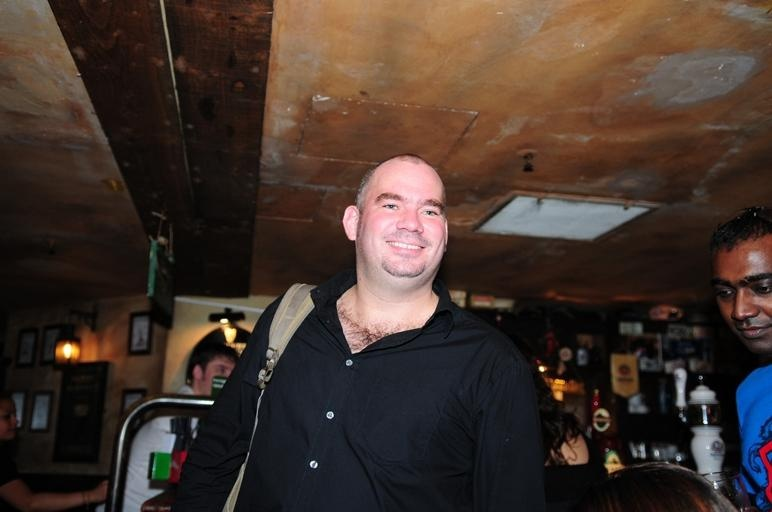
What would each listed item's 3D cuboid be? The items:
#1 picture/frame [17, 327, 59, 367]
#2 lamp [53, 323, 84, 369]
[{"bbox_3d":[-5.526,1.420,9.577,0.738,0.559,0.053,2,2,8],"label":"picture/frame"},{"bbox_3d":[-4.818,1.334,9.117,0.334,0.647,0.428,7,-19,-24],"label":"lamp"}]
